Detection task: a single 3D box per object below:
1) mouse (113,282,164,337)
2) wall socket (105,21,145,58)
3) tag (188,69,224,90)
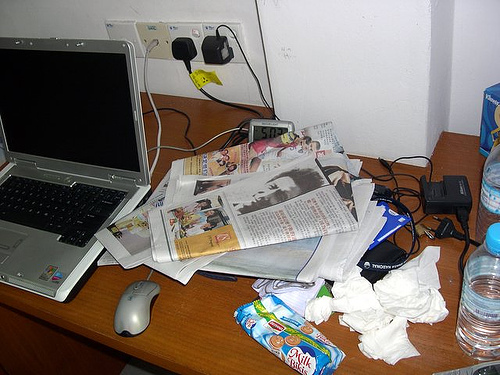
[{"bbox_3d":[-0.224,0.219,0.718,0.073,0.040,0.129,2,35,4],"label":"mouse"},{"bbox_3d":[-0.422,-0.505,1.264,0.104,0.131,0.013,3,57,2],"label":"wall socket"},{"bbox_3d":[-0.137,-0.353,1.203,0.095,0.065,0.067,-5,30,5],"label":"tag"}]
